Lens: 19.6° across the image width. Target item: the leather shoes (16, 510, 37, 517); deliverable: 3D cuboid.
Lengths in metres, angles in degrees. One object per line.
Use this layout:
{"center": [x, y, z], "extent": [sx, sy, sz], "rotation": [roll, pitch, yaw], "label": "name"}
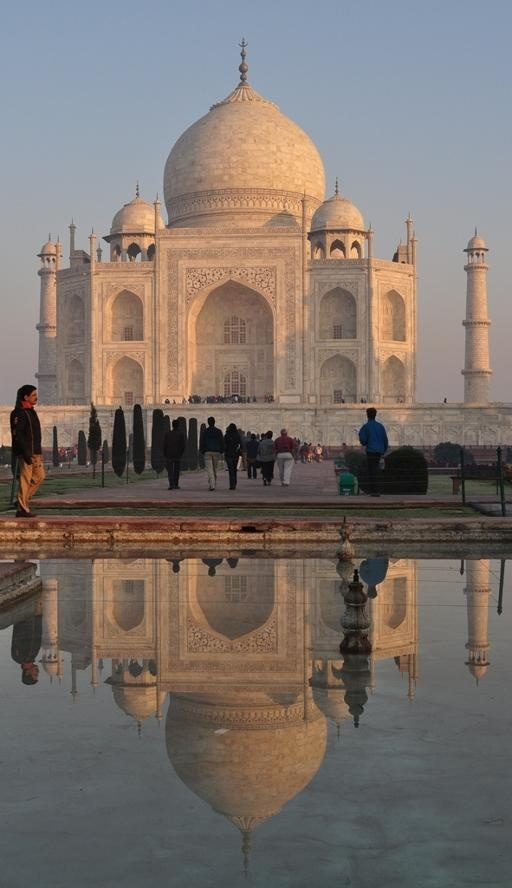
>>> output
{"center": [-1.280, 0.385, 8.291], "extent": [0.121, 0.064, 0.045], "rotation": [1, 2, -4], "label": "leather shoes"}
